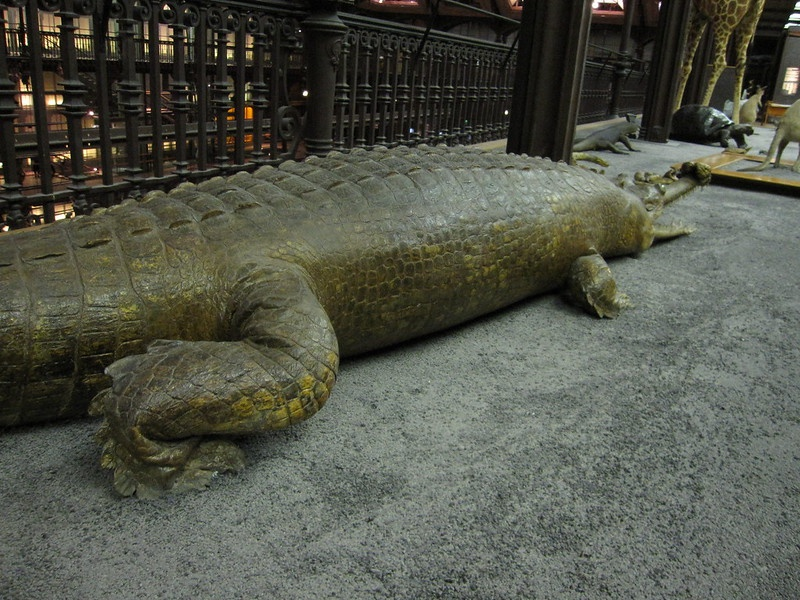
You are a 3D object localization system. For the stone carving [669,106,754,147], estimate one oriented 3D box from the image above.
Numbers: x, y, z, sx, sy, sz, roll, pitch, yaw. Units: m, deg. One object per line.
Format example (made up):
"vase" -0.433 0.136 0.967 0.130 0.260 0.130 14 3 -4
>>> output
"stone carving" 6.032 -3.417 10.326 1.016 0.579 1.603 -27 38 -33
